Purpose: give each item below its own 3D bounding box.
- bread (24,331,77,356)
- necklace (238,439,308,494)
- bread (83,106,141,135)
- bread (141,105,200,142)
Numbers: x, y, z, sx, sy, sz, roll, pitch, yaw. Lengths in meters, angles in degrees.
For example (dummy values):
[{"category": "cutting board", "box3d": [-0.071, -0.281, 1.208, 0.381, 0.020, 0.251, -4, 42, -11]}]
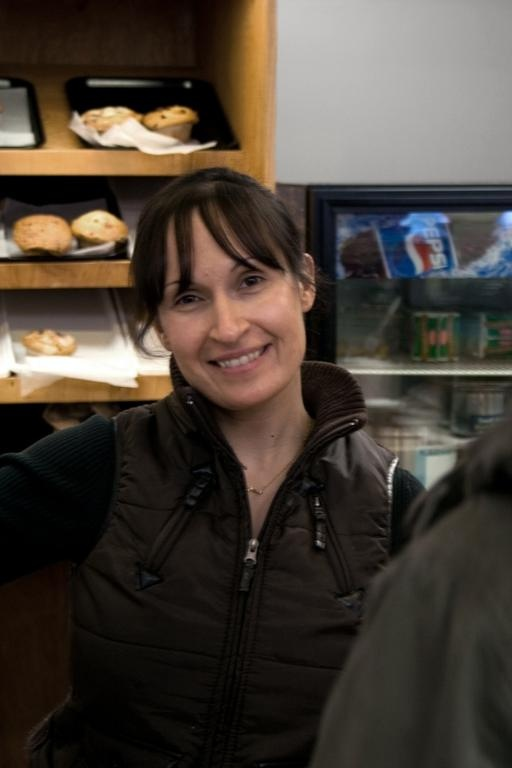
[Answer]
[{"category": "bread", "box3d": [-0.474, -0.090, 1.585, 0.075, 0.028, 0.084, 3, -2, -6]}, {"category": "necklace", "box3d": [0.016, 0.125, 1.024, 0.057, 0.071, 0.027, 14, 0, 23]}, {"category": "bread", "box3d": [-0.337, -0.617, 1.606, 0.140, 0.061, 0.153, -10, 20, -9]}, {"category": "bread", "box3d": [-0.202, -0.603, 1.645, 0.121, 0.056, 0.113, -9, 10, -6]}]
